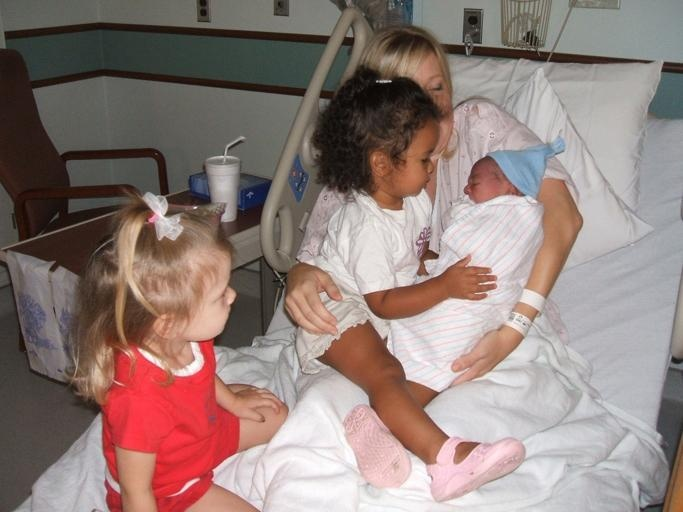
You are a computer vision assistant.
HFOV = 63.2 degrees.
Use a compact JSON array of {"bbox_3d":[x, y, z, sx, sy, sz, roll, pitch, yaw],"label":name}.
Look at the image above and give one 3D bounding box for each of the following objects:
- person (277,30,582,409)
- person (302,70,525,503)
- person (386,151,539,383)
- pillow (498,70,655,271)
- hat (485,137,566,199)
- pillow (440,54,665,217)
[{"bbox_3d":[0.392,-0.061,2.056,0.876,1.279,0.589,32,-2,12],"label":"person"},{"bbox_3d":[0.199,-0.016,1.641,0.492,1.124,0.915,-3,8,-18],"label":"person"},{"bbox_3d":[0.462,0.099,1.793,0.380,0.757,0.217,23,-1,39],"label":"person"},{"bbox_3d":[0.866,-0.350,2.202,0.542,0.665,0.191,-29,9,-5],"label":"pillow"},{"bbox_3d":[0.591,-0.302,1.744,0.290,0.103,0.208,-3,-6,35],"label":"hat"},{"bbox_3d":[0.905,-0.526,2.443,0.698,0.719,0.177,-5,-16,18],"label":"pillow"}]
